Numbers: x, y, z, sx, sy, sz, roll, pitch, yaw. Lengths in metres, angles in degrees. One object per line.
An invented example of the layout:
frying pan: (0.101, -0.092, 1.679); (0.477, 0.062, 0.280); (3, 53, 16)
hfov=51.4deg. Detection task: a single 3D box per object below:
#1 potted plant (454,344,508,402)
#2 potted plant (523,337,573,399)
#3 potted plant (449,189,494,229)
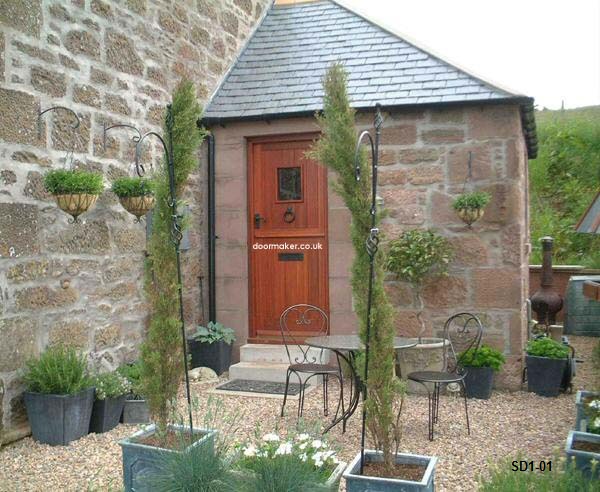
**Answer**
potted plant: (1.920, 1.342, 6.698); (0.512, 0.767, 0.703); (-1, -6, 24)
potted plant: (2.651, 1.278, 6.850); (0.496, 0.761, 0.563); (1, 0, 15)
potted plant: (1.847, -0.389, 6.749); (0.321, 0.406, 0.369); (0, -1, 22)
